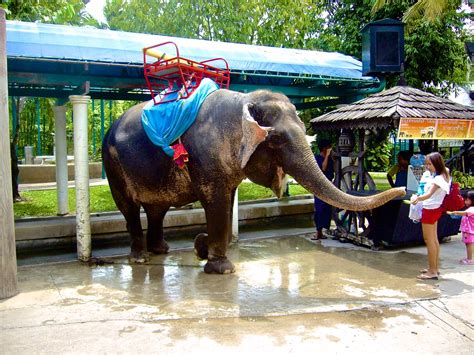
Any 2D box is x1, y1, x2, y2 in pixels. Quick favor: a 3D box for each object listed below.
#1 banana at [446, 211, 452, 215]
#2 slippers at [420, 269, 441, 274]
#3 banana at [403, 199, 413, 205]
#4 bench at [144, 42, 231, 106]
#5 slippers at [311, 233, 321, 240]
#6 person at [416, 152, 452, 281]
[{"bbox_3d":[3.423,0.567,8.424,0.125,0.031,0.129,0,5,13],"label":"banana"},{"bbox_3d":[3.099,1.510,8.402,0.244,0.066,0.122,3,-5,-8],"label":"slippers"},{"bbox_3d":[2.810,0.403,8.625,0.130,0.032,0.135,6,4,-2],"label":"banana"},{"bbox_3d":[-0.826,-1.697,9.034,0.836,0.937,1.429,-5,-2,33],"label":"bench"},{"bbox_3d":[1.604,1.204,10.533,0.231,0.103,0.081,1,-3,4],"label":"slippers"},{"bbox_3d":[3.053,0.606,8.166,0.450,1.961,0.889,5,13,23],"label":"person"}]
